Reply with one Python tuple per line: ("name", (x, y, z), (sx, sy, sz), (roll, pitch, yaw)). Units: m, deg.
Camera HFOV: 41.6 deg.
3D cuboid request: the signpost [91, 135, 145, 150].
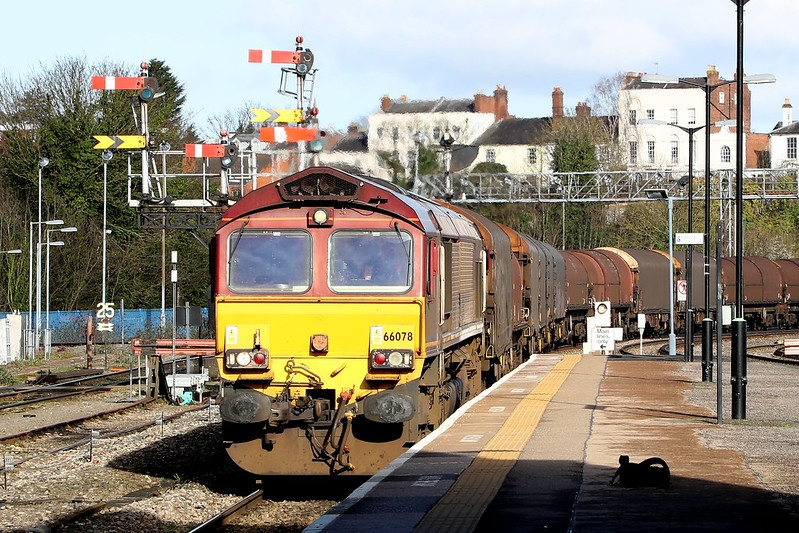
("signpost", (-7.868, -3.557, 29.729), (1.242, 0.411, 0.743), (-3, 0, 8))
